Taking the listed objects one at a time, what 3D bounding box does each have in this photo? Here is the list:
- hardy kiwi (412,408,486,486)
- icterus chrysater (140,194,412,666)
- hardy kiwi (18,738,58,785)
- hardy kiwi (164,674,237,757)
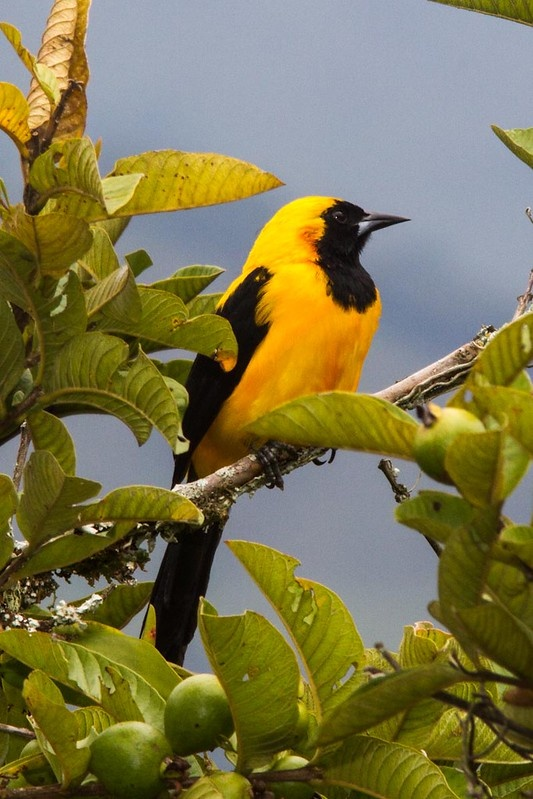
[{"bbox_3d":[0.202,0.054,1.378,0.069,0.075,0.066,-16,3,24],"label":"hardy kiwi"},{"bbox_3d":[0.008,-0.038,3.568,0.489,1.207,1.420,16,4,3],"label":"icterus chrysater"},{"bbox_3d":[-0.336,0.536,1.842,0.056,0.066,0.026,-18,0,2],"label":"hardy kiwi"},{"bbox_3d":[-0.091,0.432,1.679,0.093,0.099,0.073,15,4,5],"label":"hardy kiwi"}]
